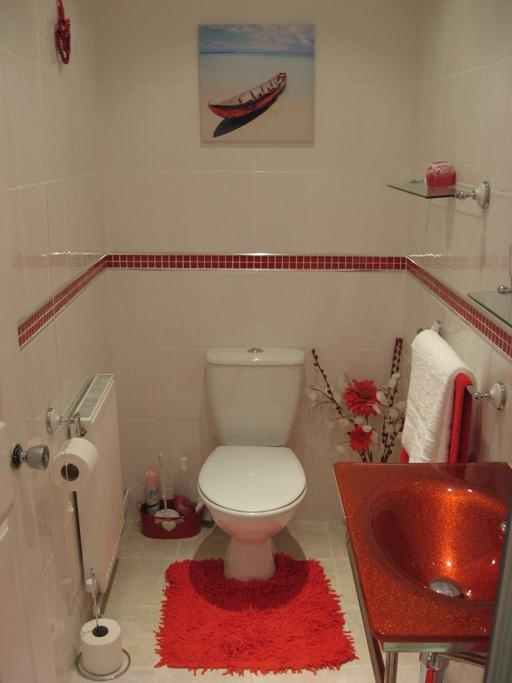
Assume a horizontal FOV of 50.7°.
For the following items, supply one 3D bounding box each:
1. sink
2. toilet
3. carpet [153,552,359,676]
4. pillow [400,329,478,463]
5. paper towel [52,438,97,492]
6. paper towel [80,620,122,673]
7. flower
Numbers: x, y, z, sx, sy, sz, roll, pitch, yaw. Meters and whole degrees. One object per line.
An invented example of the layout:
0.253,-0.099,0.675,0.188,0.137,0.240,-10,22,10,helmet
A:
0.349,0.390,1.049,0.270,0.150,0.257,1,10,3,sink
-0.021,0.533,2.243,0.435,0.900,0.616,0,10,3,toilet
-0.022,1.050,2.119,0.720,0.090,0.567,-1,11,-7,carpet
0.559,0.214,1.690,0.190,0.421,0.471,3,10,16,pillow
-0.554,0.368,1.585,0.094,0.122,0.126,1,3,-27,paper towel
-0.533,1.030,1.900,0.126,0.144,0.153,-2,20,-1,paper towel
0.466,0.245,2.506,0.366,0.668,0.229,-7,25,6,flower
